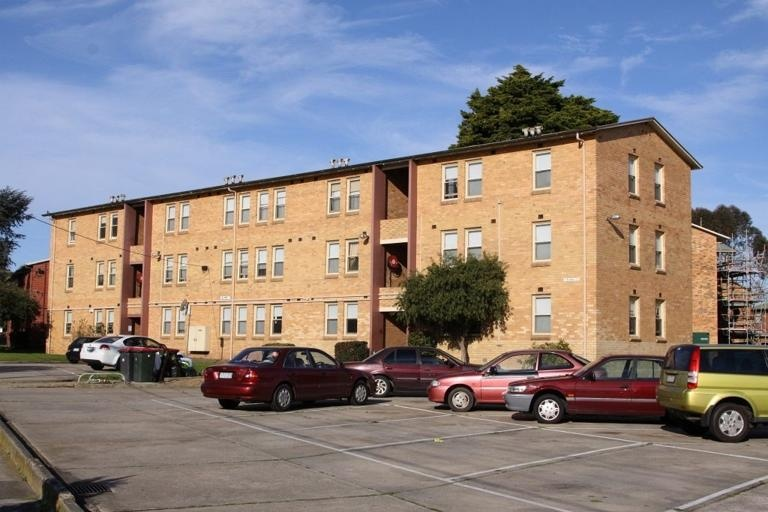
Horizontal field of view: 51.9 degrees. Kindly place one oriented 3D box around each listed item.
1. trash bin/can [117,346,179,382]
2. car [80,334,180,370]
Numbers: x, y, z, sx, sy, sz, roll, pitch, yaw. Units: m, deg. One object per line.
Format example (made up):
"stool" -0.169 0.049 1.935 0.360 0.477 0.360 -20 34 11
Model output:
"trash bin/can" -9.435 4.337 31.974 1.772 1.268 2.356 -1 -1 40
"car" -11.989 4.679 37.794 4.439 1.223 2.010 2 -4 -44
